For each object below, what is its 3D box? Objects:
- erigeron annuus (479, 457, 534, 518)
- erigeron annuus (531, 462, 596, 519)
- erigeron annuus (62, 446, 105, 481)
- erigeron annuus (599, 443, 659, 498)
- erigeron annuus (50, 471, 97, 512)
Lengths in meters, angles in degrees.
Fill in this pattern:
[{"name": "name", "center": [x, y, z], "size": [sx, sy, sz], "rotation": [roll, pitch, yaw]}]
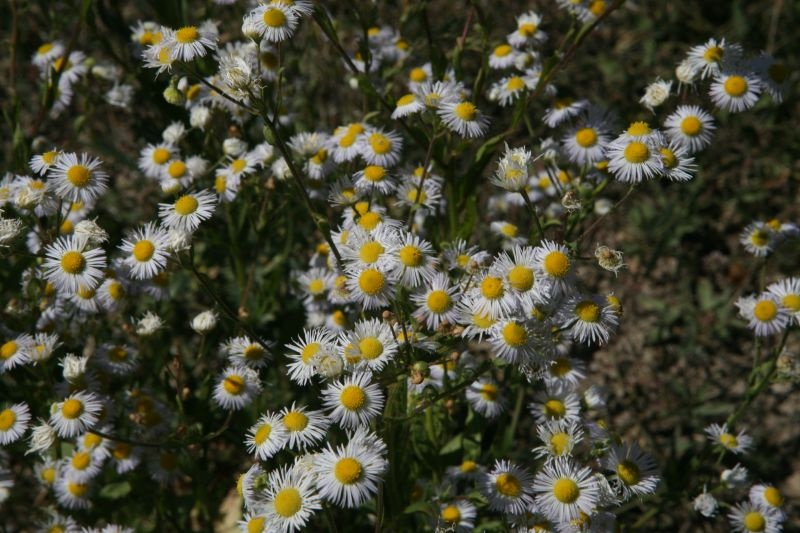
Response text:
[{"name": "erigeron annuus", "center": [0.564, 1.156, 4.503], "size": [0.263, 0.129, 0.255], "rotation": [16, 72, 9]}, {"name": "erigeron annuus", "center": [0.838, 1.145, 4.362], "size": [0.324, 0.189, 0.302], "rotation": [-2, 70, 3]}, {"name": "erigeron annuus", "center": [-1.746, 1.104, 4.728], "size": [0.203, 0.155, 0.167], "rotation": [20, 72, 11]}, {"name": "erigeron annuus", "center": [1.169, 1.025, 4.416], "size": [0.281, 0.138, 0.305], "rotation": [22, 35, 23]}, {"name": "erigeron annuus", "center": [-1.820, 1.229, 4.764], "size": [0.227, 0.229, 0.064], "rotation": [37, 94, 37]}]
